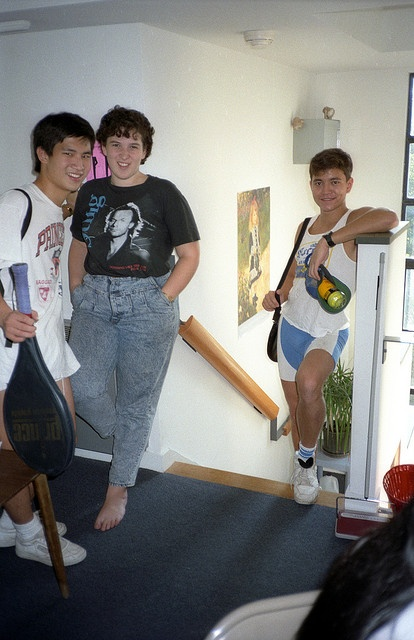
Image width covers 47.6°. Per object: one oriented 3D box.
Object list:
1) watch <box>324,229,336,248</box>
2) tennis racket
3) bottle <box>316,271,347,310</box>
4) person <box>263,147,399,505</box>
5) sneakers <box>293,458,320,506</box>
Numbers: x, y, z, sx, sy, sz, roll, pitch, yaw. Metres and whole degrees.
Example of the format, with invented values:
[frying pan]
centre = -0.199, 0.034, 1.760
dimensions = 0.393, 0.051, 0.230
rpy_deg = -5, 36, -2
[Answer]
[watch]
centre = 0.526, -0.348, 2.041
dimensions = 0.044, 0.060, 0.066
rpy_deg = 8, 25, 26
[tennis racket]
centre = -0.554, 0.292, 1.556
dimensions = 0.189, 0.475, 0.170
rpy_deg = 8, 15, 39
[bottle]
centre = 0.550, -0.135, 2.074
dimensions = 0.080, 0.055, 0.150
rpy_deg = 18, 25, -22
[person]
centre = 0.556, 0.026, 2.270
dimensions = 0.477, 1.654, 0.541
rpy_deg = -4, 12, -8
[sneakers]
centre = 0.468, 0.768, 2.241
dimensions = 0.081, 0.097, 0.228
rpy_deg = 0, 21, 5
